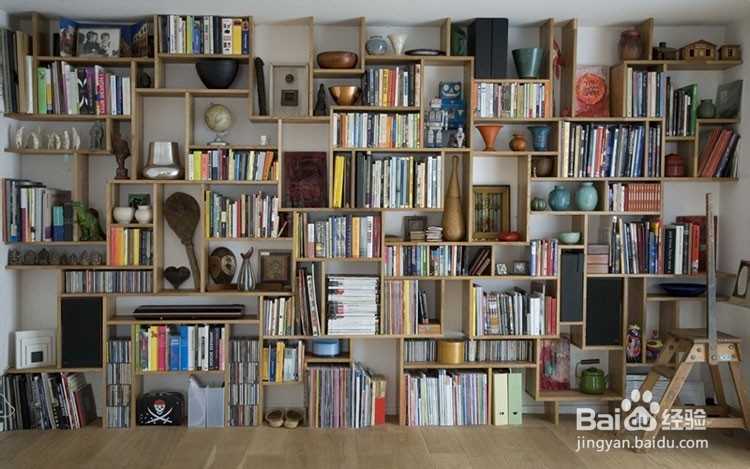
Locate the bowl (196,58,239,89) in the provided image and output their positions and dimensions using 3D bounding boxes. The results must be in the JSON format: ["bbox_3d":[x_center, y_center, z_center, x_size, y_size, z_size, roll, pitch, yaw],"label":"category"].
[{"bbox_3d":[-1.502,-1.512,6.973,0.404,0.225,0.390,3,6,0],"label":"bowl"}]

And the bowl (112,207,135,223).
[{"bbox_3d":[-2.357,-0.182,6.840,0.177,0.132,0.169,2,0,0],"label":"bowl"}]

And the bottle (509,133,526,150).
[{"bbox_3d":[1.362,-0.883,6.933,0.161,0.162,0.111,-1,6,4],"label":"bottle"}]

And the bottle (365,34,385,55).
[{"bbox_3d":[0.007,-1.784,6.866,0.203,0.175,0.059,-2,6,-4],"label":"bottle"}]

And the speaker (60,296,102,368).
[{"bbox_3d":[-2.731,0.905,6.805,0.383,0.661,0.103,-1,6,5],"label":"speaker"}]

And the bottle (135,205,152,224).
[{"bbox_3d":[-2.164,-0.198,6.857,0.174,0.177,0.165,3,-2,-32],"label":"bottle"}]

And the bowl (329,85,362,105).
[{"bbox_3d":[-0.284,-1.321,6.935,0.224,0.117,0.216,-1,6,0],"label":"bowl"}]

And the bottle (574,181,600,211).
[{"bbox_3d":[2.028,-0.376,6.986,0.211,0.272,0.171,0,6,13],"label":"bottle"}]

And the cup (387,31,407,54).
[{"bbox_3d":[0.217,-1.824,6.940,0.197,0.157,0.199,-1,5,0],"label":"cup"}]

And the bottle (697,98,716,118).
[{"bbox_3d":[3.150,-1.213,6.949,0.184,0.174,0.173,4,4,24],"label":"bottle"}]

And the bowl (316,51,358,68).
[{"bbox_3d":[-0.343,-1.644,6.848,0.234,0.076,0.227,0,6,0],"label":"bowl"}]

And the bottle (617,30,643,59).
[{"bbox_3d":[2.433,-1.817,6.933,0.213,0.291,0.125,-3,6,-13],"label":"bottle"}]

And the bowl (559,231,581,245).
[{"bbox_3d":[1.861,0.035,6.967,0.146,0.078,0.147,-1,-1,0],"label":"bowl"}]

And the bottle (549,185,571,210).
[{"bbox_3d":[1.748,-0.357,6.946,0.239,0.261,0.230,1,-3,5],"label":"bottle"}]

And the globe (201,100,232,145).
[{"bbox_3d":[-1.492,-1.073,7.010,0.288,0.395,0.259,5,11,9],"label":"globe"}]

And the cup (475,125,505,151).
[{"bbox_3d":[1.107,-0.941,7.010,0.233,0.247,0.240,-2,6,0],"label":"cup"}]

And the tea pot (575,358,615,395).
[{"bbox_3d":[2.115,1.366,7.083,0.372,0.307,0.247,0,0,6],"label":"tea pot"}]

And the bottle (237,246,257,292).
[{"bbox_3d":[-1.230,0.320,6.972,0.173,0.397,0.236,-3,6,-11],"label":"bottle"}]
